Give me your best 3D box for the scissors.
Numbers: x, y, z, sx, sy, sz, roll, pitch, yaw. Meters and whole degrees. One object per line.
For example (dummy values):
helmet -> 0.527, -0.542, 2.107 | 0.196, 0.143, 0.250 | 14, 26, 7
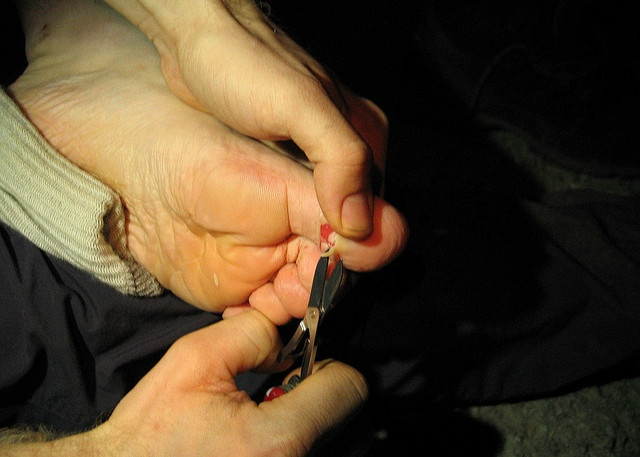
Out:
scissors -> -0.042, 0.269, 1.552 | 0.105, 0.365, 0.322 | 23, 62, 20
